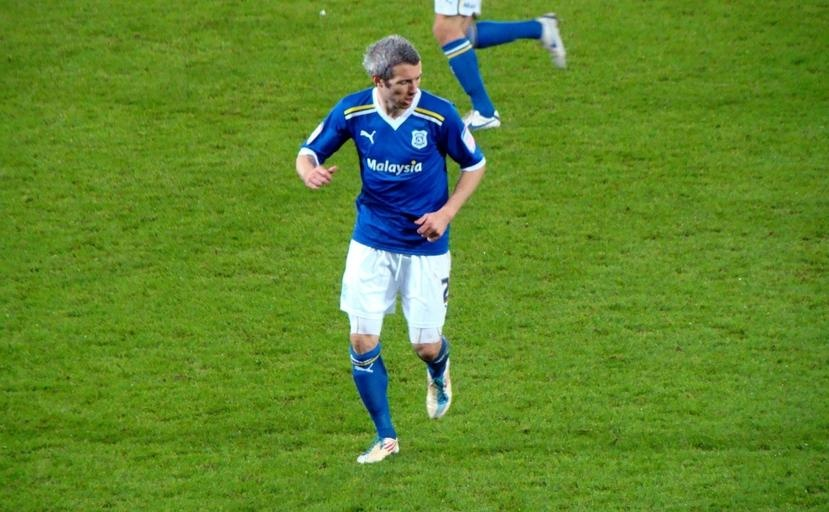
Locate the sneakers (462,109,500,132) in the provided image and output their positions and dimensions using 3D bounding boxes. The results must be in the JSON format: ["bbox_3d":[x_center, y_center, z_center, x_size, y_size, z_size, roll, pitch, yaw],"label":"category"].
[{"bbox_3d":[0.684,-1.371,14.484,0.498,0.209,0.164,0,54,2],"label":"sneakers"}]

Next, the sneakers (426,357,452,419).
[{"bbox_3d":[0.252,1.321,13.608,0.214,0.605,0.250,0,9,9],"label":"sneakers"}]

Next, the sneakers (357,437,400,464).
[{"bbox_3d":[-0.356,1.903,13.356,0.379,0.145,0.198,-19,14,-23],"label":"sneakers"}]
